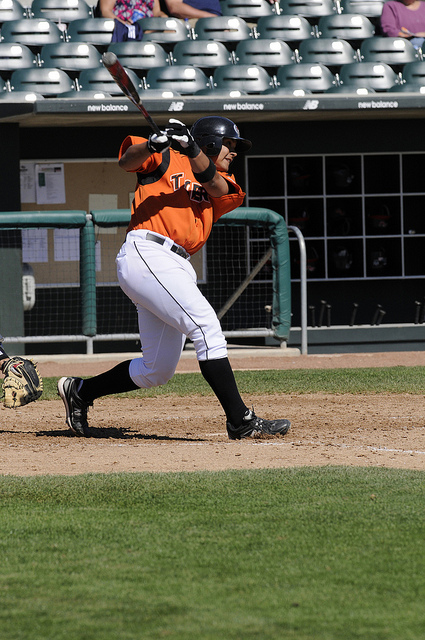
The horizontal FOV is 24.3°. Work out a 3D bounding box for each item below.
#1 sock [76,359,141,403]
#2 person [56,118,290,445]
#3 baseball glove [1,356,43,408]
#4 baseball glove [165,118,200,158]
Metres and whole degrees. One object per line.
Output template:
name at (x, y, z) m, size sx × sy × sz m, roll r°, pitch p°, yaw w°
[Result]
sock at (-0.480, 0.287, 4.564) m, size 0.370 × 0.125 × 0.155 m, roll -17°, pitch -46°, yaw 32°
person at (-0.179, -0.185, 4.219) m, size 1.127 × 1.402 × 0.641 m, roll -1°, pitch -4°, yaw 25°
baseball glove at (-0.863, 0.268, 4.617) m, size 0.263 × 0.217 × 0.190 m, roll 3°, pitch 16°, yaw -2°
baseball glove at (-0.118, -0.717, 3.899) m, size 0.049 × 0.098 × 0.163 m, roll -13°, pitch -34°, yaw 30°
